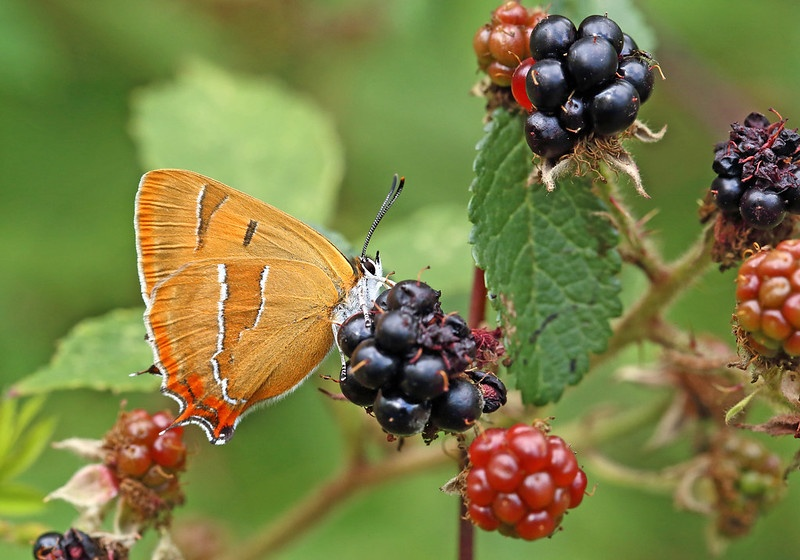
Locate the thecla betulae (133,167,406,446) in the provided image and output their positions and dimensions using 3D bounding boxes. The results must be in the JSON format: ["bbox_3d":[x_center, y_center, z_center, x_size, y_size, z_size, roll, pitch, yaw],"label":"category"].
[{"bbox_3d":[-0.538,0.073,3.421,0.913,1.199,1.211,-17,20,-32],"label":"thecla betulae"}]

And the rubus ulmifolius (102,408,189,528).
[{"bbox_3d":[-1.005,0.728,3.112,0.267,0.499,0.276,0,17,10],"label":"rubus ulmifolius"}]

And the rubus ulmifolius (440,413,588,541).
[{"bbox_3d":[0.401,0.678,2.605,0.399,0.381,0.189,-25,-24,2],"label":"rubus ulmifolius"}]
